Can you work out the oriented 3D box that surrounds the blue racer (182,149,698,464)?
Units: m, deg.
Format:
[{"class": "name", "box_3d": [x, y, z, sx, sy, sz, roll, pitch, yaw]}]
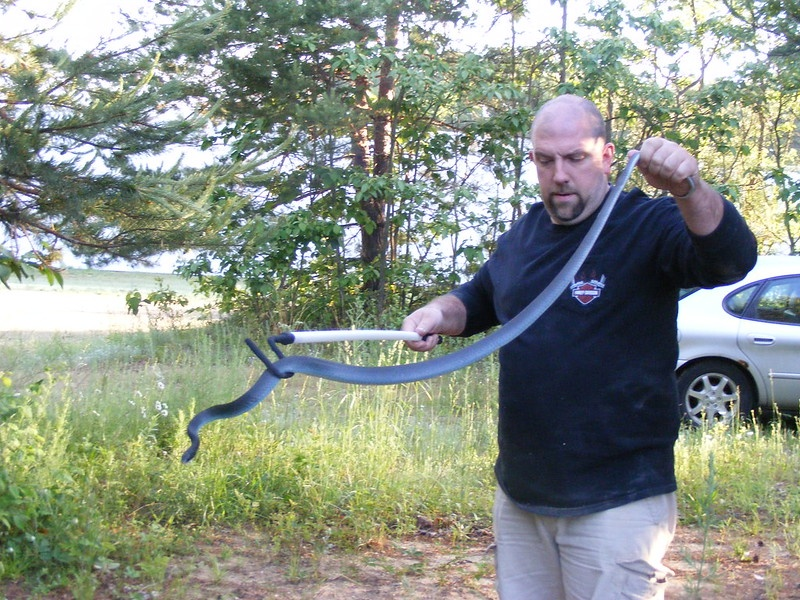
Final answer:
[{"class": "blue racer", "box_3d": [0.065, -0.002, 3.343, 1.960, 1.226, 0.487, -1, -4, -7]}]

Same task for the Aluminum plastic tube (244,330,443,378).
[{"class": "Aluminum plastic tube", "box_3d": [-0.225, 0.169, 3.157, 1.152, 0.147, 0.122, -9, -10, 44]}]
